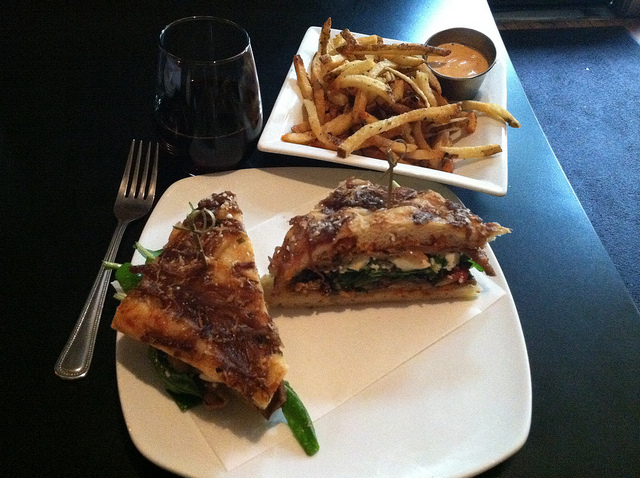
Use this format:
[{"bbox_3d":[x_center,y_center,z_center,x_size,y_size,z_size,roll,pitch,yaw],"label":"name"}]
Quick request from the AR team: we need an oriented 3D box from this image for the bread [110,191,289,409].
[{"bbox_3d":[-0.509,0.316,2.159,0.851,0.202,0.832,36,54,2],"label":"bread"}]
